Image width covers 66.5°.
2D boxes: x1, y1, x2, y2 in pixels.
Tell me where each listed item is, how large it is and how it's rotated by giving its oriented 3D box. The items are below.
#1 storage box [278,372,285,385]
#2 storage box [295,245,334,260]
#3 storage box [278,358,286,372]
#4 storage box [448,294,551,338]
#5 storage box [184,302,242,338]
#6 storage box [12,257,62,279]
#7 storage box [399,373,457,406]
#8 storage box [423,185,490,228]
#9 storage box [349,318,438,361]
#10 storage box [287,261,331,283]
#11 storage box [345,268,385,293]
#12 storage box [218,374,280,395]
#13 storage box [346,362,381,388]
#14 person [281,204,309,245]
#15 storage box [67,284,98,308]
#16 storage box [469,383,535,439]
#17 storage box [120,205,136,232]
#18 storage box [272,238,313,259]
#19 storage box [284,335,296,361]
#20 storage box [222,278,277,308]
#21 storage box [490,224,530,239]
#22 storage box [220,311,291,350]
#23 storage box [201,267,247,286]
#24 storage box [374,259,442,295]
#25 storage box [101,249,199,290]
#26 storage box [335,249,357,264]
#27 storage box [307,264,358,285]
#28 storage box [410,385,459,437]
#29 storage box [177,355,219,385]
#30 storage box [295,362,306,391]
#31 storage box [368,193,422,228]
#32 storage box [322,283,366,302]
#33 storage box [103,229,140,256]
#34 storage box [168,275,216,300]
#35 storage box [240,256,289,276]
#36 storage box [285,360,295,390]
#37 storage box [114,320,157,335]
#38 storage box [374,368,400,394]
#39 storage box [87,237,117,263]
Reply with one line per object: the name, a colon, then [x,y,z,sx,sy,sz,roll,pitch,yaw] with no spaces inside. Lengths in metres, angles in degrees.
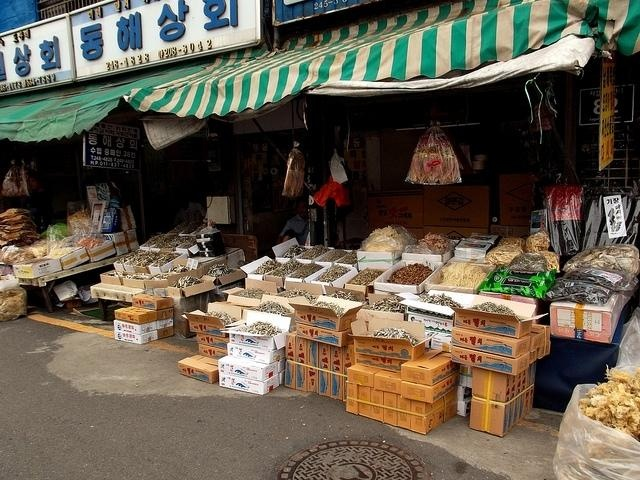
storage box: [-0.428,1.612,5.655,0.037,0.145,0.111,5,14,28]
storage box: [-0.082,0.190,7.492,0.225,0.077,0.409,0,16,19]
storage box: [-0.436,1.449,5.632,0.030,0.127,0.117,4,19,30]
storage box: [1.658,0.733,4.647,0.503,0.169,0.502,10,10,37]
storage box: [-1.311,1.013,6.135,0.700,0.261,0.473,4,8,25]
storage box: [-4.866,0.499,8.429,0.730,0.315,0.412,2,13,18]
storage box: [1.080,1.404,4.692,0.256,0.110,0.366,-1,2,40]
storage box: [2.509,-0.637,8.675,1.199,0.754,0.641,5,13,36]
storage box: [0.724,1.016,4.976,0.805,0.279,0.559,2,5,29]
storage box: [-0.153,0.445,6.820,0.234,0.071,0.427,4,21,26]
storage box: [0.573,0.521,6.340,0.314,0.087,0.334,3,36,47]
storage box: [-0.805,1.640,5.539,0.682,0.168,0.234,-1,13,5]
storage box: [0.434,1.370,4.917,0.287,0.214,0.149,-2,-2,37]
person: [-0.472,-0.291,9.549,0.690,0.886,0.507,-2,21,-12]
storage box: [-4.273,1.055,8.845,0.524,0.336,0.398,-13,17,-40]
storage box: [1.865,1.661,4.952,0.334,0.314,0.859,4,6,41]
storage box: [-3.729,-0.416,9.545,0.212,0.487,0.454,-5,13,-14]
storage box: [-0.479,0.155,7.798,0.331,0.153,0.449,-25,20,-33]
storage box: [-0.313,1.215,5.526,0.139,0.310,0.043,7,15,35]
storage box: [-0.929,0.732,6.724,0.638,0.218,0.311,8,20,33]
storage box: [3.126,-0.157,8.045,0.443,0.173,0.520,-5,13,-15]
storage box: [-0.722,1.054,5.699,0.597,0.233,0.431,3,19,13]
storage box: [-1.436,0.594,7.678,0.278,0.139,0.515,4,6,29]
storage box: [1.189,0.523,6.236,0.848,0.304,0.884,0,19,32]
storage box: [-2.687,0.504,7.992,1.629,0.385,1.029,7,16,35]
storage box: [0.428,0.272,7.165,0.157,0.070,0.314,5,17,20]
storage box: [0.219,0.471,6.626,0.281,0.094,0.391,6,21,35]
storage box: [1.151,1.702,4.770,0.365,0.345,0.529,5,18,45]
storage box: [-1.415,1.550,5.892,0.371,0.126,0.276,12,17,26]
storage box: [-0.209,1.553,5.510,0.104,0.311,0.033,8,16,38]
storage box: [1.409,-0.536,8.947,1.045,0.715,0.572,2,19,16]
storage box: [0.319,0.669,6.134,0.408,0.141,0.215,6,10,35]
storage box: [-3.772,0.012,9.420,0.468,0.298,0.477,-20,22,17]
storage box: [-1.873,0.703,7.259,0.658,0.303,0.304,-11,16,-36]
storage box: [-0.828,0.395,7.340,0.383,0.128,0.382,-26,14,-34]
storage box: [-0.343,1.531,5.587,0.064,0.333,0.188,-13,17,-40]
storage box: [-2.657,1.254,7.002,0.625,0.198,0.232,1,13,12]
storage box: [0.665,1.403,4.788,0.207,0.128,0.205,1,2,29]
storage box: [-3.986,0.192,9.004,0.374,0.238,0.381,-12,8,34]
